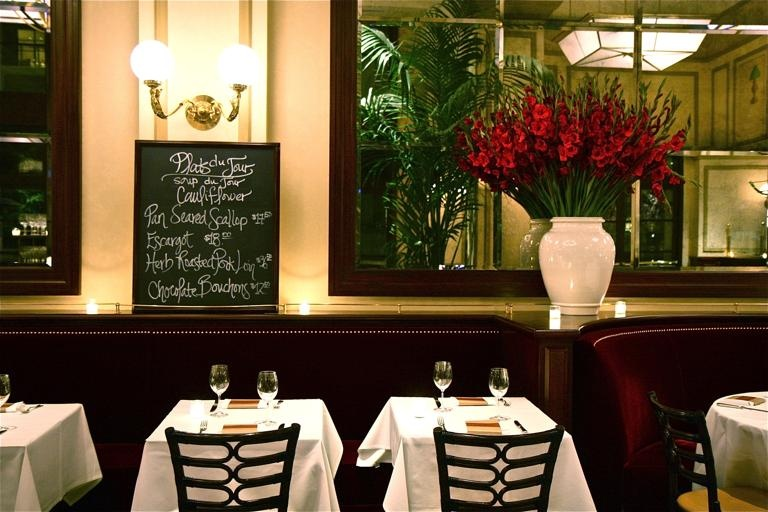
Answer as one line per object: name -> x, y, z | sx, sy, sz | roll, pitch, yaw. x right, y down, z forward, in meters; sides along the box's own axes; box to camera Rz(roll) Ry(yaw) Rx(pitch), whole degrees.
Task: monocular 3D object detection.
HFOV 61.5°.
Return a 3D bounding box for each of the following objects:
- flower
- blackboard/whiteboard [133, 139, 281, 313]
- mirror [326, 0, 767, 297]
flower -> 1.278, -0.927, 5.060 | 1.380, 1.022, 1.391 | 0, -5, -1
blackboard/whiteboard -> -1.397, -0.200, 4.943 | 1.337, 1.542, 0.113 | 0, -5, -7
mirror -> 1.117, -0.839, 5.093 | 2.477, 1.751, 0.102 | 0, -1, -1
